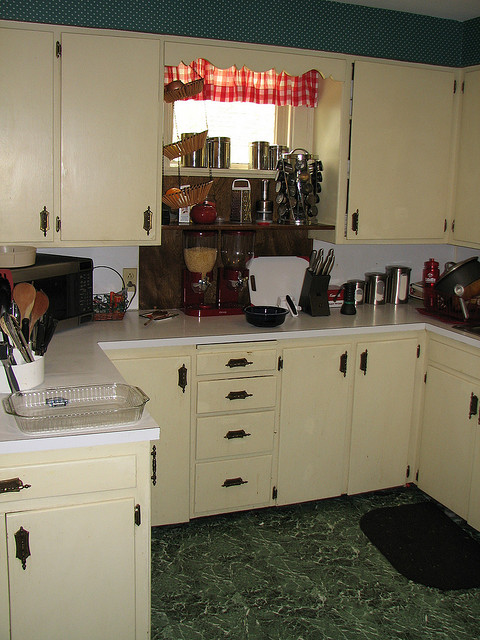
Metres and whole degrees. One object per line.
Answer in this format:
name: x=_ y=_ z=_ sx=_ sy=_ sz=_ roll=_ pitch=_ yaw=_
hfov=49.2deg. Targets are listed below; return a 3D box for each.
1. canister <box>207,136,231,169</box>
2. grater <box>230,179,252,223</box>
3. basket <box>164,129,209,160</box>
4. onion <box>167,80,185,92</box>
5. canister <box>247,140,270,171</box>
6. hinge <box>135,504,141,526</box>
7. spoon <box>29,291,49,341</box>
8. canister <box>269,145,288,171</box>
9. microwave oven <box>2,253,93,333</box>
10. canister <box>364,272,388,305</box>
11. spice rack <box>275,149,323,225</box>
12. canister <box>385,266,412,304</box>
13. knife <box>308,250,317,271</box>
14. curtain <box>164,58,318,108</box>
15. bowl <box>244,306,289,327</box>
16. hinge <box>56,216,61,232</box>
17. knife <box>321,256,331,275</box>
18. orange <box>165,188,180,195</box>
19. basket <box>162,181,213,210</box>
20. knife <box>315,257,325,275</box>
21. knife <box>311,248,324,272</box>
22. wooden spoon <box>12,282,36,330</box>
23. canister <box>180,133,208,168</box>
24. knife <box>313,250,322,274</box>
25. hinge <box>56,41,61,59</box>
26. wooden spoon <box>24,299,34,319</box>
canister: x=-0.115 y=-0.908 z=2.847 sx=0.154 sy=0.172 sz=0.155 roll=12 pitch=20 yaw=26
grater: x=0.002 y=-0.650 z=2.865 sx=0.115 sy=0.238 sz=0.192 roll=1 pitch=9 yaw=0
basket: x=-0.259 y=-0.827 z=2.459 sx=0.201 sy=0.112 sz=0.116 roll=2 pitch=9 yaw=1
onion: x=-0.299 y=-1.080 z=2.420 sx=0.092 sy=0.044 sz=0.121 roll=-4 pitch=20 yaw=2
canister: x=0.103 y=-0.904 z=2.898 sx=0.151 sy=0.164 sz=0.153 roll=0 pitch=14 yaw=1
hinge: x=-0.271 y=0.514 z=1.383 sx=0.013 sy=0.057 sz=0.005 roll=-1 pitch=9 yaw=-13
spoon: x=-0.625 y=-0.011 z=1.629 sx=0.033 sy=0.151 sz=0.020 roll=15 pitch=-13 yaw=-38
canister: x=0.193 y=-0.919 z=3.007 sx=0.114 sy=0.179 sz=0.148 roll=-8 pitch=24 yaw=-19
microwave oven: x=-0.856 y=-0.164 z=2.283 sx=0.288 sy=0.314 sz=0.419 roll=10 pitch=16 yaw=29
canister: x=0.804 y=-0.183 z=3.129 sx=0.121 sy=0.180 sz=0.091 roll=3 pitch=9 yaw=12
spice rack: x=0.295 y=-0.699 z=2.807 sx=0.233 sy=0.419 sz=0.147 roll=-2 pitch=18 yaw=-21
canister: x=0.999 y=-0.227 z=3.282 sx=0.193 sy=0.337 sz=0.204 roll=-1 pitch=10 yaw=0
knife: x=0.393 y=-0.337 z=2.872 sx=0.032 sy=0.144 sz=0.036 roll=13 pitch=21 yaw=30
curtain: x=-0.021 y=-1.212 z=2.666 sx=0.748 sy=0.184 sz=0.074 roll=-2 pitch=10 yaw=-19
bowl: x=0.121 y=-0.019 z=2.603 sx=0.202 sy=0.072 sz=0.345 roll=2 pitch=9 yaw=1
hinge: x=-0.795 y=-0.419 z=2.289 sx=0.015 sy=0.046 sz=0.028 roll=4 pitch=33 yaw=-5
knife: x=0.458 y=-0.285 z=2.796 sx=0.028 sy=0.115 sz=0.024 roll=24 pitch=15 yaw=-13
orange: x=-0.328 y=-0.623 z=2.542 sx=0.065 sy=0.035 sz=0.109 roll=3 pitch=9 yaw=9
basket: x=-0.264 y=-0.606 z=2.564 sx=0.237 sy=0.123 sz=0.180 roll=2 pitch=9 yaw=3
knife: x=0.424 y=-0.286 z=2.807 sx=0.025 sy=0.102 sz=0.020 roll=27 pitch=-2 yaw=-17
knife: x=0.414 y=-0.331 z=2.832 sx=0.041 sy=0.159 sz=0.034 roll=1 pitch=34 yaw=-30
wooden spoon: x=-0.651 y=-0.056 z=1.578 sx=0.043 sy=0.171 sz=0.018 roll=4 pitch=-2 yaw=-25
canister: x=-0.233 y=-0.878 z=2.761 sx=0.170 sy=0.191 sz=0.171 roll=-2 pitch=10 yaw=-8
knife: x=0.417 y=-0.311 z=2.806 sx=0.031 sy=0.123 sz=0.026 roll=5 pitch=24 yaw=-20
hinge: x=-0.748 y=-1.111 z=2.155 sx=0.018 sy=0.061 sz=0.005 roll=-2 pitch=9 yaw=-24
wooden spoon: x=-0.646 y=-0.030 z=1.604 sx=0.014 sy=0.067 sz=0.009 roll=21 pitch=7 yaw=-14
